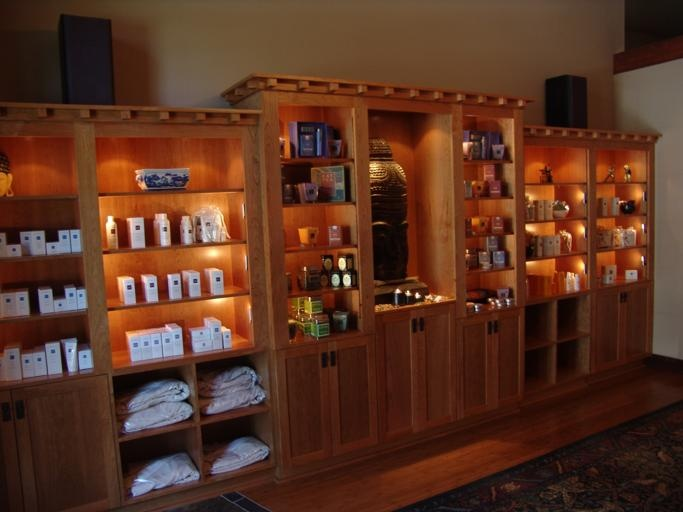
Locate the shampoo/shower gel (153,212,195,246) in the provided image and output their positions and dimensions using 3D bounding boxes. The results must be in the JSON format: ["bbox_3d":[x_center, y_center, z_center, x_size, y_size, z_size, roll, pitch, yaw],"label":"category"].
[{"bbox_3d":[-1.323,-0.199,4.287,0.289,0.224,0.101,-4,6,-39],"label":"shampoo/shower gel"}]

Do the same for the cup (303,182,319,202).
[{"bbox_3d":[-0.254,-0.515,4.492,0.114,0.151,0.067,-12,17,-37],"label":"cup"}]

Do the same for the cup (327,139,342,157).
[{"bbox_3d":[-0.068,-0.899,4.557,0.137,0.138,0.130,0,11,0],"label":"cup"}]

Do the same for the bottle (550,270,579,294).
[{"bbox_3d":[2.476,0.303,6.054,0.282,0.217,0.088,-1,-2,-33],"label":"bottle"}]

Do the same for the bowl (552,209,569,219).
[{"bbox_3d":[2.431,-0.456,6.049,0.118,0.073,0.119,-2,2,0],"label":"bowl"}]

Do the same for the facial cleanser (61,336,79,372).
[{"bbox_3d":[-1.982,0.712,3.996,0.102,0.214,0.276,-9,15,-29],"label":"facial cleanser"}]

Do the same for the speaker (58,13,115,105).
[{"bbox_3d":[-1.842,-1.420,3.984,0.316,0.617,0.171,-5,14,-11],"label":"speaker"}]

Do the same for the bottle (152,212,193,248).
[{"bbox_3d":[-1.332,-0.193,4.280,0.301,0.237,0.104,-4,6,-39],"label":"bottle"}]
